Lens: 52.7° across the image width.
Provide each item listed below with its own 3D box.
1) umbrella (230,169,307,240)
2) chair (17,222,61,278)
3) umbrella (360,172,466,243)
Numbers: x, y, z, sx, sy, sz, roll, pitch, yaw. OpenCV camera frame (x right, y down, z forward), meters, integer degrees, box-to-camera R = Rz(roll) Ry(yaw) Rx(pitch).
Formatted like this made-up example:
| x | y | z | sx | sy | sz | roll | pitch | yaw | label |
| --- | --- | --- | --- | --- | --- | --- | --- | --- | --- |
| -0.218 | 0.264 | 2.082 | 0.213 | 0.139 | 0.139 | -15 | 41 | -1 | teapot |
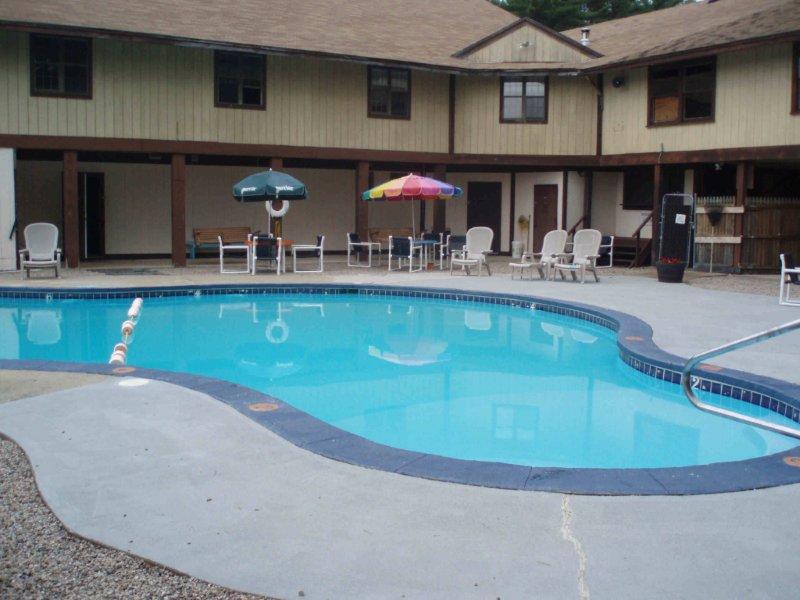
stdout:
| x | y | z | sx | sy | sz | roll | pitch | yaw | label |
| --- | --- | --- | --- | --- | --- | --- | --- | --- | --- |
| -2.817 | -1.999 | 17.344 | 1.665 | 1.767 | 1.690 | 1 | 9 | 0 | umbrella |
| -6.977 | -0.895 | 15.733 | 0.635 | 1.100 | 0.713 | -4 | 5 | -13 | chair |
| 0.268 | -2.382 | 18.523 | 1.789 | 1.358 | 1.889 | -2 | 4 | -1 | umbrella |
